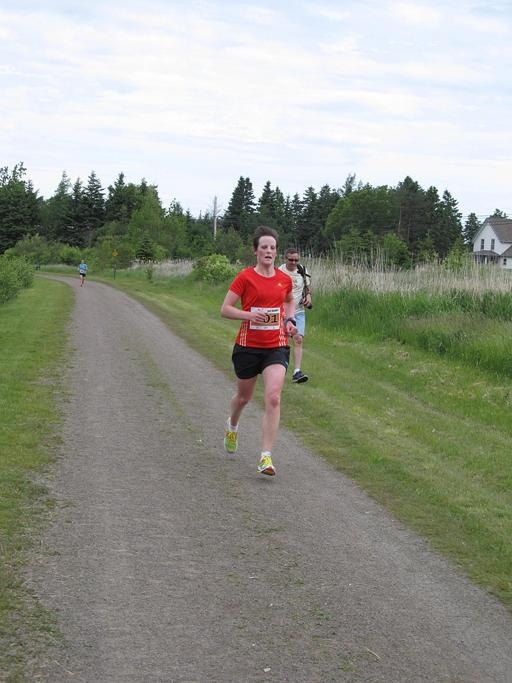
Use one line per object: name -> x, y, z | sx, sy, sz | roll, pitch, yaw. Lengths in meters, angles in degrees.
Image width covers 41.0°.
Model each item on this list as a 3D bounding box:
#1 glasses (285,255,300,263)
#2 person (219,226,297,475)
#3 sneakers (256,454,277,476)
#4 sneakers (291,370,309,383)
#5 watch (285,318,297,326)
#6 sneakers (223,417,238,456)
glasses -> 0.550, -1.396, 9.939 | 0.115, 0.128, 0.133 | 0, 7, -2
person -> 0.002, 0.006, 5.784 | 0.615, 2.150, 0.774 | 7, 6, 4
sneakers -> 0.085, 0.995, 5.639 | 0.101, 0.126, 0.273 | 4, -11, -16
sneakers -> 0.687, 0.415, 10.424 | 0.119, 0.151, 0.335 | 2, -12, -26
watch -> 0.294, -0.262, 5.789 | 0.085, 0.055, 0.079 | 5, -20, 15
sneakers -> -0.193, 0.830, 6.263 | 0.119, 0.355, 0.152 | -1, -7, -24
